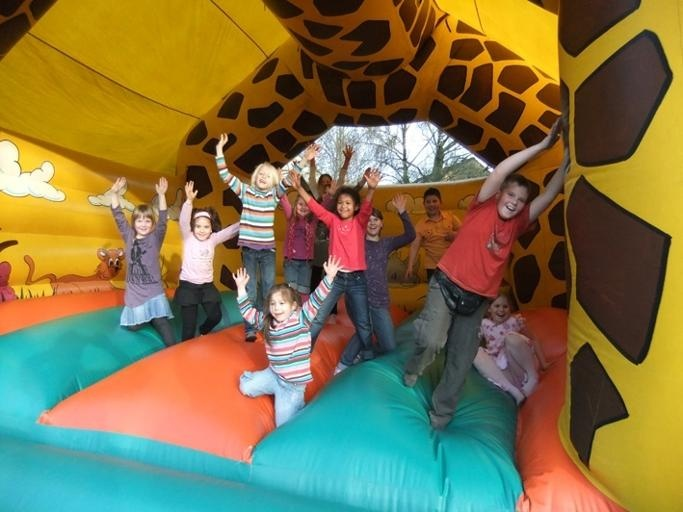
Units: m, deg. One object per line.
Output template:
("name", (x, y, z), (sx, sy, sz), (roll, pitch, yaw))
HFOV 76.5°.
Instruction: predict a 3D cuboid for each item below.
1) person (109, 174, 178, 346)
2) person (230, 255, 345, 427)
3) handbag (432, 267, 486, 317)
("person", (-1.377, 0.021, 2.993), (0.431, 1.132, 0.396), (0, 8, -16))
("person", (-0.286, 0.453, 2.300), (0.503, 0.838, 0.256), (1, 8, -11))
("handbag", (0.590, 0.175, 2.182), (0.195, 0.102, 0.249), (33, -4, -5))
